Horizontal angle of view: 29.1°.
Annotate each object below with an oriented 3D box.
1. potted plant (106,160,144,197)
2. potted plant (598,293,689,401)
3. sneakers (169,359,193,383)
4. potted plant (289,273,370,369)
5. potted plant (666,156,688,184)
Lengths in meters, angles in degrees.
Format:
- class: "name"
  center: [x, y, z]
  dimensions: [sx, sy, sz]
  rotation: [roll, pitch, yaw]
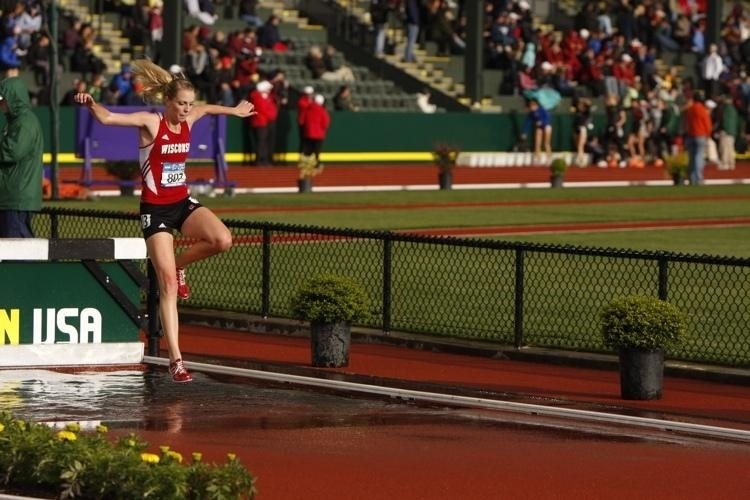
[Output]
- class: "potted plant"
  center: [-6.246, -1.793, 35.043]
  dimensions: [0.953, 1.124, 1.064]
  rotation: [2, 2, 7]
- class: "potted plant"
  center: [2.974, 1.093, 16.141]
  dimensions: [1.018, 1.203, 1.160]
  rotation: [2, -17, 1]
- class: "sneakers"
  center: [-2.081, 1.303, 15.559]
  dimensions: [0.145, 0.163, 0.364]
  rotation: [-4, 7, -28]
- class: "potted plant"
  center: [-0.541, 0.819, 17.256]
  dimensions: [1.070, 1.102, 0.966]
  rotation: [2, -8, -17]
- class: "potted plant"
  center: [8.876, -2.351, 42.001]
  dimensions: [0.750, 0.961, 0.747]
  rotation: [2, 5, 11]
